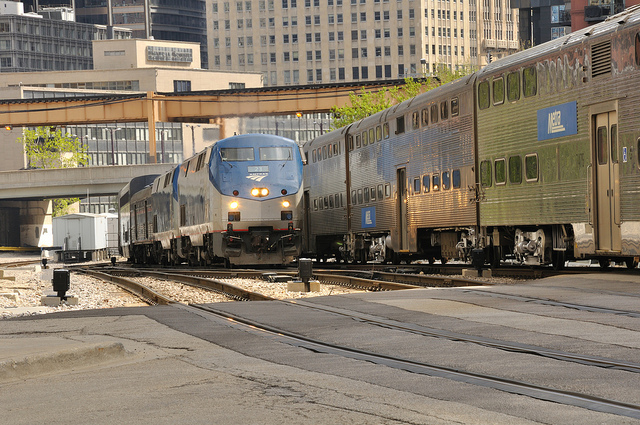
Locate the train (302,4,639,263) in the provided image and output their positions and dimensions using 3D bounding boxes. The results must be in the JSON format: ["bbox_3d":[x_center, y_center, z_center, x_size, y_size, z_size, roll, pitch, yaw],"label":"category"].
[{"bbox_3d":[4.219,-1.362,26.056,2.207,5.837,17.104,1,-4,-26],"label":"train"}]
